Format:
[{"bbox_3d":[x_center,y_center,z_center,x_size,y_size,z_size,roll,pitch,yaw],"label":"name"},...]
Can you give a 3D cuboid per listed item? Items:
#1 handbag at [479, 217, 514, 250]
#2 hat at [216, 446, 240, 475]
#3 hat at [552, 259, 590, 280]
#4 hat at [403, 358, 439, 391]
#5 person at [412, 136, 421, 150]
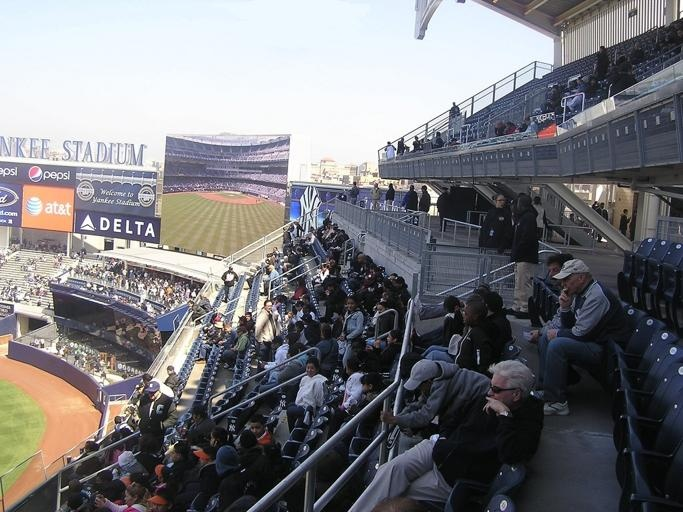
[{"bbox_3d":[3.369,-0.467,10.635,0.627,0.669,0.367,7,0,37],"label":"handbag"},{"bbox_3d":[-1.201,2.181,5.347,0.256,0.288,0.287,-3,6,-20],"label":"hat"},{"bbox_3d":[2.350,0.132,5.054,0.293,0.159,0.197,-6,5,10],"label":"hat"},{"bbox_3d":[0.687,1.003,4.233,0.299,0.178,0.193,-30,30,10],"label":"hat"},{"bbox_3d":[4.125,-6.049,26.854,0.515,0.742,0.720,-3,-6,34],"label":"person"}]
